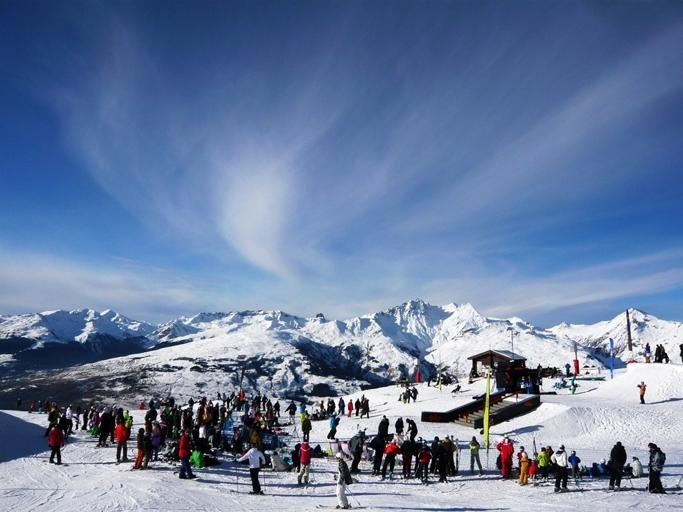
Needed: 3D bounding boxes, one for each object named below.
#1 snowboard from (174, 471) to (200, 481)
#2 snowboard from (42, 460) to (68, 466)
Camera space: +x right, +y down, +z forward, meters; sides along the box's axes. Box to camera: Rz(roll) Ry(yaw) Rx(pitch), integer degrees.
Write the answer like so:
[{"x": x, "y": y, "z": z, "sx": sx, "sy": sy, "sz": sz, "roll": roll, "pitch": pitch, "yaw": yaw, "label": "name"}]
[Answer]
[{"x": -8.805, "y": 12.709, "z": 27.981, "sx": 1.427, "sy": 0.544, "sz": 0.458, "roll": 1, "pitch": -17, "yaw": -6, "label": "snowboard"}, {"x": -17.546, "y": 12.823, "z": 29.976, "sx": 2.170, "sy": 0.125, "sz": 0.473, "roll": -8, "pitch": -19, "yaw": 25, "label": "snowboard"}]
